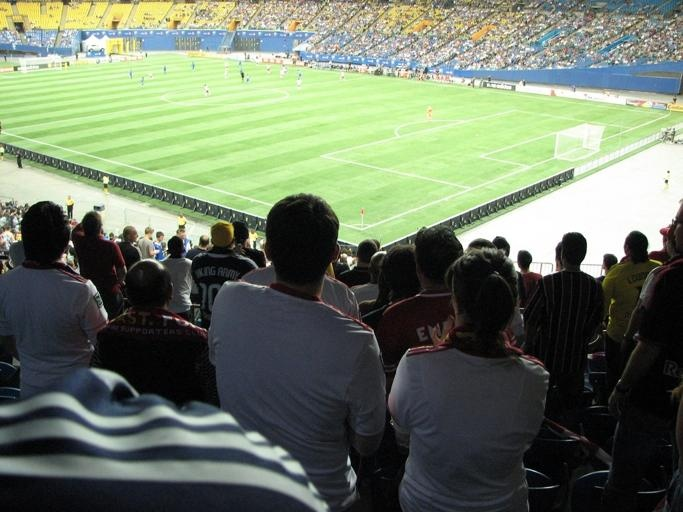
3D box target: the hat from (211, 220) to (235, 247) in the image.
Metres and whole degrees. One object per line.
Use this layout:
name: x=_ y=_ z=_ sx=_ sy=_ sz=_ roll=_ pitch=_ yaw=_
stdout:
hat: x=-1.313 y=-0.268 z=6.856 sx=0.207 sy=0.151 sz=0.296 roll=2 pitch=42 yaw=-6
